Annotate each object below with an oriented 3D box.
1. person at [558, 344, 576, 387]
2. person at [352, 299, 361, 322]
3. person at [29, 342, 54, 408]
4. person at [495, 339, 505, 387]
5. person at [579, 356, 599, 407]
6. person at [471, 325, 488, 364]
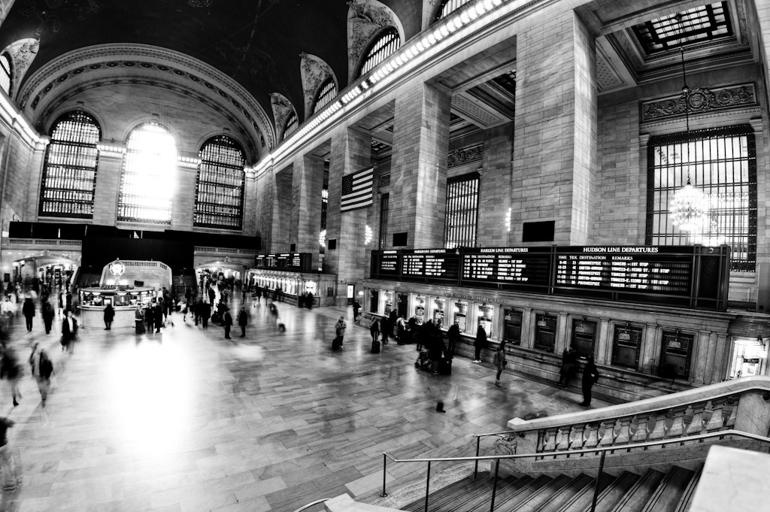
[{"bbox_3d":[6.347,3.948,17.490,0.564,1.263,0.281,1,-4,22],"label":"person"},{"bbox_3d":[-1.464,2.873,25.874,0.401,0.972,1.019,2,-3,-2],"label":"person"},{"bbox_3d":[-10.649,3.551,15.508,0.731,2.403,0.792,0,14,-36],"label":"person"},{"bbox_3d":[4.083,3.807,17.862,0.331,1.500,0.718,2,-3,11],"label":"person"},{"bbox_3d":[6.754,4.170,16.574,0.511,1.624,0.541,0,-4,28],"label":"person"},{"bbox_3d":[3.685,3.437,19.443,0.464,1.444,0.652,2,-3,11],"label":"person"}]
